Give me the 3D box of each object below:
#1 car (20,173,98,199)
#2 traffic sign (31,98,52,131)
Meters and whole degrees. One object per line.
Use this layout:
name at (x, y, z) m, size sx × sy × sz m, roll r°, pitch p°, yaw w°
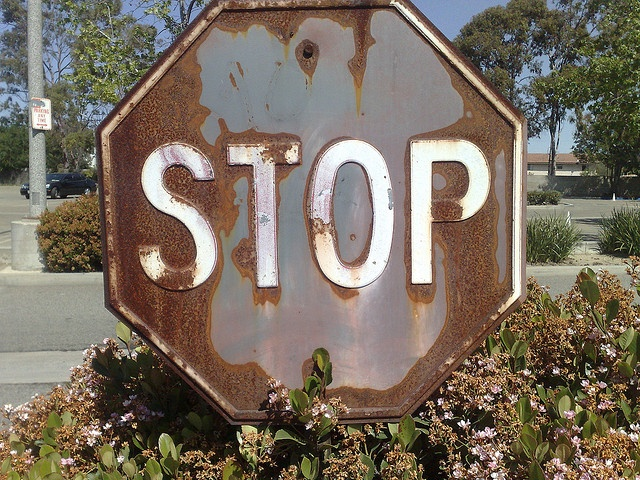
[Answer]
car at (-13.069, -2.857, 59.210) m, size 1.135 × 1.344 × 3.616 m, roll 0°, pitch 1°, yaw 26°
traffic sign at (-9.446, -4.317, 38.808) m, size 0.656 × 1.202 × 0.130 m, roll 2°, pitch 36°, yaw -10°
